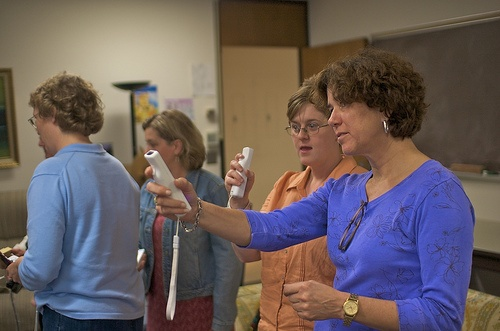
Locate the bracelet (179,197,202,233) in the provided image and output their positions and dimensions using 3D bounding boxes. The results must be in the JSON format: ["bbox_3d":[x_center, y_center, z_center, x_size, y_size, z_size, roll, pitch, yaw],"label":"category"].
[{"bbox_3d":[-0.254,0.203,2.063,0.125,0.196,0.046,2,6,33],"label":"bracelet"}]

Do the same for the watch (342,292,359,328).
[{"bbox_3d":[0.380,0.548,1.866,0.048,0.112,0.062,12,-15,28],"label":"watch"}]
